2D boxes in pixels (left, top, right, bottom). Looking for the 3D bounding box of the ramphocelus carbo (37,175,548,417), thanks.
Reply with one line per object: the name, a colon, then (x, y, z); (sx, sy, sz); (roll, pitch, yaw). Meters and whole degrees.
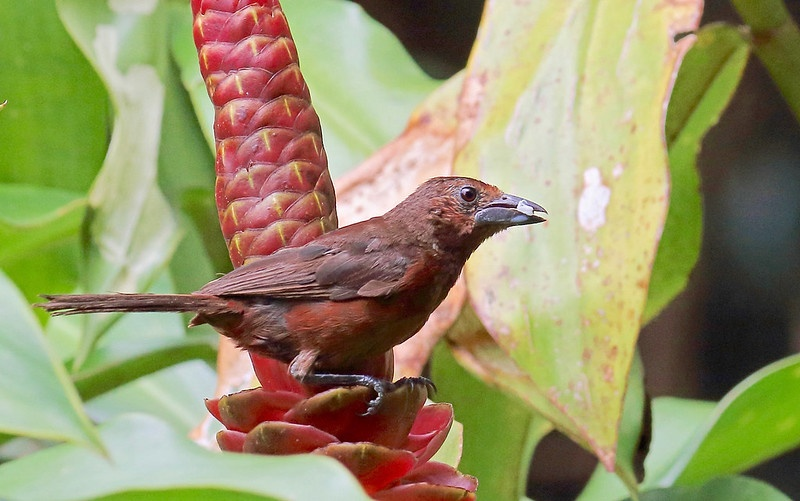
ramphocelus carbo: (-0.088, 0.026, 0.655); (0.370, 0.112, 0.180); (3, 83, 0)
